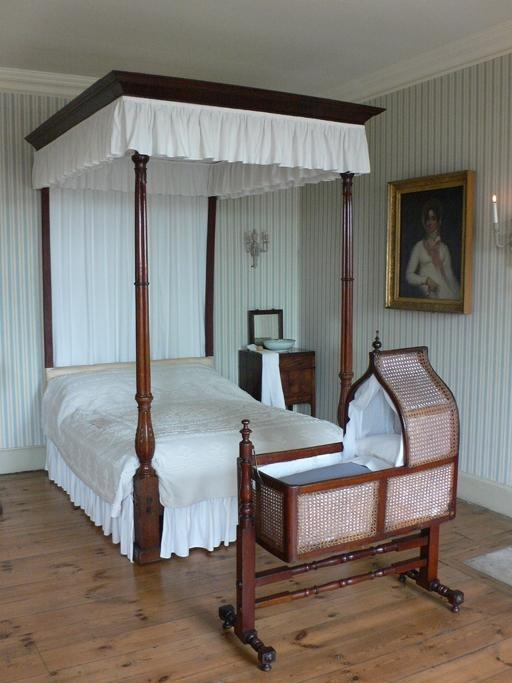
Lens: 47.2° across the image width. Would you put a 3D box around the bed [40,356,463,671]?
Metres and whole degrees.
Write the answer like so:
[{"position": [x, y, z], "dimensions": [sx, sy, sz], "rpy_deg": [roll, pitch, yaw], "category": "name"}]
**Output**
[{"position": [-0.183, 0.637, 3.362], "dimensions": [1.266, 1.211, 2.277], "rpy_deg": [-3, 4, -30], "category": "bed"}]
